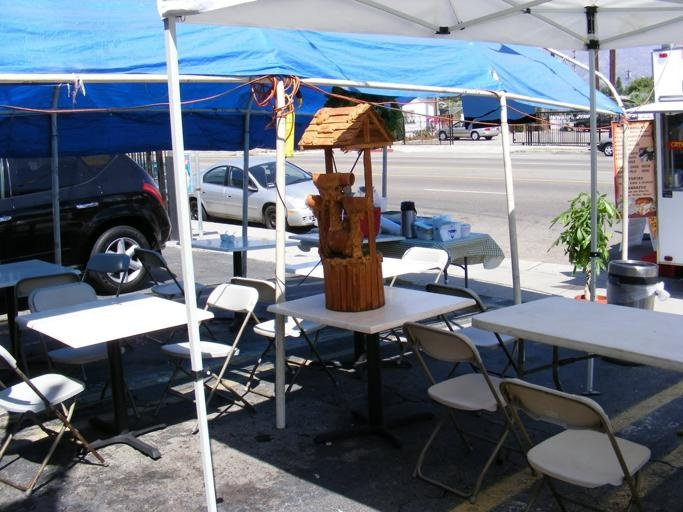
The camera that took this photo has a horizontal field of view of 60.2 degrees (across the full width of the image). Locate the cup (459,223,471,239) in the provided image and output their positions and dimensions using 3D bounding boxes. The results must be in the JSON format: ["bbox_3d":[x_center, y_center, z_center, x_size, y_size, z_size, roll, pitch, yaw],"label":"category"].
[{"bbox_3d":[1.697,-0.375,8.390,0.237,0.197,0.177,-10,14,-44],"label":"cup"}]

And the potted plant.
[{"bbox_3d":[3.307,-0.338,8.091,0.712,0.952,0.843,-15,-26,43],"label":"potted plant"}]

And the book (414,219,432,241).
[{"bbox_3d":[1.129,-0.351,8.123,0.257,0.232,0.084,18,12,40],"label":"book"}]

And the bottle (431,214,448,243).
[{"bbox_3d":[1.330,-0.388,8.041,0.209,0.319,0.261,0,13,12],"label":"bottle"}]

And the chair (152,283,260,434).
[{"bbox_3d":[-1.280,0.897,5.681,0.839,1.143,0.748,-5,7,-42],"label":"chair"}]

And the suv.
[{"bbox_3d":[-4.151,-0.736,9.539,2.759,1.293,1.548,0,1,-41],"label":"suv"}]

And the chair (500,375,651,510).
[{"bbox_3d":[1.602,1.320,4.089,0.612,1.020,0.804,12,30,42],"label":"chair"}]

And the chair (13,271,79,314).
[{"bbox_3d":[-2.898,0.343,5.782,0.410,0.554,0.349,13,15,42],"label":"chair"}]

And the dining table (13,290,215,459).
[{"bbox_3d":[-1.848,0.900,5.266,1.501,1.325,1.502,11,17,41],"label":"dining table"}]

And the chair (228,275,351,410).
[{"bbox_3d":[-0.746,0.730,6.586,1.018,1.553,1.266,3,9,43],"label":"chair"}]

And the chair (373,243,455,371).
[{"bbox_3d":[0.906,0.426,7.056,1.012,1.505,1.314,4,6,41],"label":"chair"}]

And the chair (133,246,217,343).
[{"bbox_3d":[-2.249,0.479,7.892,0.999,1.204,0.791,-2,8,-35],"label":"chair"}]

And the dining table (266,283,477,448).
[{"bbox_3d":[0.296,0.875,5.058,1.420,1.111,1.422,3,9,43],"label":"dining table"}]

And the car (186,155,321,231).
[{"bbox_3d":[-2.271,-1.704,15.738,4.157,1.346,2.026,7,13,41],"label":"car"}]

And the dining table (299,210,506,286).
[{"bbox_3d":[1.245,-0.113,7.957,1.796,0.576,1.400,8,14,44],"label":"dining table"}]
